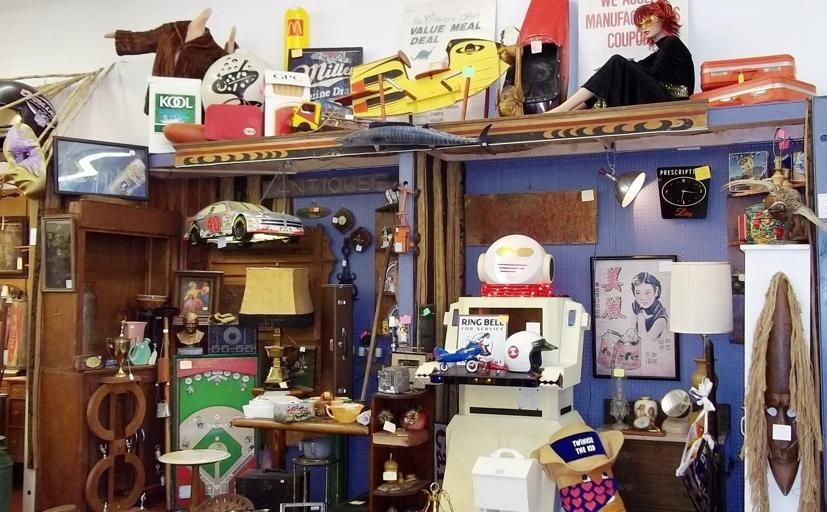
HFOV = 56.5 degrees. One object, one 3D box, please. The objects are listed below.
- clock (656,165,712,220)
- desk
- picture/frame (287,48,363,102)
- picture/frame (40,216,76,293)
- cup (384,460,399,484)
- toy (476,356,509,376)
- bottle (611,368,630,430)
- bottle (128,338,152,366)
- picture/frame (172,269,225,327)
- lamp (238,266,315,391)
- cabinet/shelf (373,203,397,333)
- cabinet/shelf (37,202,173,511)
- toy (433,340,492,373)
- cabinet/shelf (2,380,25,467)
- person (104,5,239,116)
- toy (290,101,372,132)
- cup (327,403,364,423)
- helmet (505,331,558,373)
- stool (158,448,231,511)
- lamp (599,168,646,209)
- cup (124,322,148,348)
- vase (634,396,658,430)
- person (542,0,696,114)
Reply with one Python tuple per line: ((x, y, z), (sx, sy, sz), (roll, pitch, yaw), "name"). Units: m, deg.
((2.720, -0.641, 7.675), (0.523, 0.544, 0.071), (0, -4, 17), "clock")
((-1.092, 1.920, 7.950), (1.404, 0.615, 1.099), (0, -2, 4), "desk")
((-0.954, -2.023, 8.630), (0.765, 0.588, 0.105), (0, -3, 17), "picture/frame")
((-3.837, -0.039, 8.321), (0.436, 0.818, 0.037), (-1, -2, 18), "picture/frame")
((-0.223, 2.066, 7.453), (0.172, 0.233, 0.171), (0, 1, 0), "cup")
((0.724, 1.022, 7.102), (0.169, 0.094, 0.174), (9, -1, 13), "toy")
((2.034, 1.388, 7.603), (0.155, 0.572, 0.302), (-1, -2, 15), "bottle")
((-2.992, 1.095, 8.689), (0.286, 0.300, 0.170), (2, -1, 25), "bottle")
((-2.485, 0.491, 8.878), (0.610, 0.760, 0.076), (1, -5, -10), "picture/frame")
((-1.502, 0.788, 8.467), (0.719, 1.324, 0.411), (-1, -2, 17), "lamp")
((-0.311, 0.150, 8.429), (0.248, 1.422, 0.529), (0, -2, -1), "cabinet/shelf")
((-3.397, 1.091, 8.587), (1.315, 3.401, 0.717), (2, -3, -44), "cabinet/shelf")
((0.453, 0.923, 7.129), (0.375, 0.168, 0.276), (0, 3, -2), "toy")
((-4.888, 2.044, 9.492), (0.422, 1.066, 0.183), (-2, -3, 45), "cabinet/shelf")
((-2.799, -2.319, 9.132), (1.379, 1.008, 0.369), (10, -5, -1), "person")
((-0.917, -1.422, 8.145), (0.693, 0.305, 0.385), (1, 0, 4), "toy")
((-0.646, 1.537, 7.588), (0.269, 0.120, 0.193), (-2, -2, 31), "cup")
((1.079, 0.890, 7.060), (0.422, 0.336, 0.313), (-1, -6, 22), "helmet")
((-2.232, 2.327, 7.915), (0.663, 0.674, 0.678), (0, 0, 19), "stool")
((2.119, -0.711, 7.805), (0.454, 0.415, 0.204), (-1, -2, 15), "lamp")
((-3.110, 0.870, 8.802), (0.220, 0.337, 0.307), (0, -2, 20), "cup")
((2.249, 1.525, 7.469), (0.236, 0.338, 0.274), (-2, -12, 19), "vase")
((1.891, -1.906, 7.487), (1.805, 1.386, 0.791), (0, 0, 1), "person")
